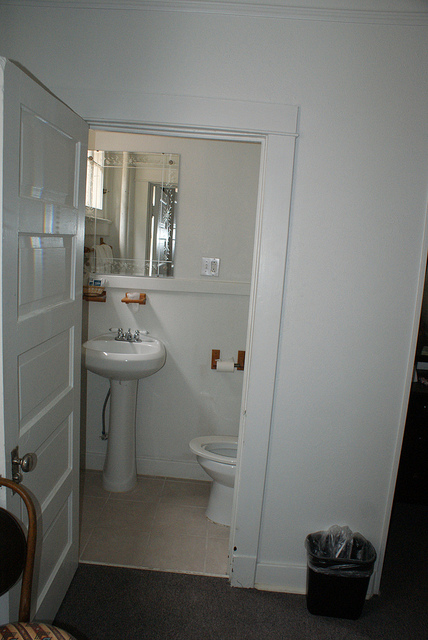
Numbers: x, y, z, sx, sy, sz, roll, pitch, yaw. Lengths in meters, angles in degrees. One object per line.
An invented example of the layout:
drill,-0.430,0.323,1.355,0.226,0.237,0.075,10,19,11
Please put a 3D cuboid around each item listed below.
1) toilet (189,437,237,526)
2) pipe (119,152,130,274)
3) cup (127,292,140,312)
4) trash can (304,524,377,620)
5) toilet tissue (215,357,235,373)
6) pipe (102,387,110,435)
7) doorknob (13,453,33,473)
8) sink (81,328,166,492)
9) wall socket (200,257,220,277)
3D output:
toilet,-0.015,0.866,2.577,0.249,0.407,0.472,4,6,4
pipe,-0.524,-0.614,2.727,0.051,0.682,0.058,2,6,-8
cup,-0.476,-0.099,2.754,0.073,0.117,0.075,3,6,0
trash can,0.522,1.045,1.949,0.242,0.337,0.259,1,6,3
toilet tissue,0.065,0.267,2.775,0.084,0.080,0.067,-1,1,4
pipe,-0.657,0.552,2.830,0.035,0.276,0.055,4,-1,-41
doorknob,-0.499,0.377,1.238,0.042,0.047,0.048,6,-18,-1
sink,-0.523,0.543,2.684,0.461,0.946,0.489,3,6,-6
wall socket,-0.022,-0.310,2.787,0.091,0.107,0.030,-2,4,2
